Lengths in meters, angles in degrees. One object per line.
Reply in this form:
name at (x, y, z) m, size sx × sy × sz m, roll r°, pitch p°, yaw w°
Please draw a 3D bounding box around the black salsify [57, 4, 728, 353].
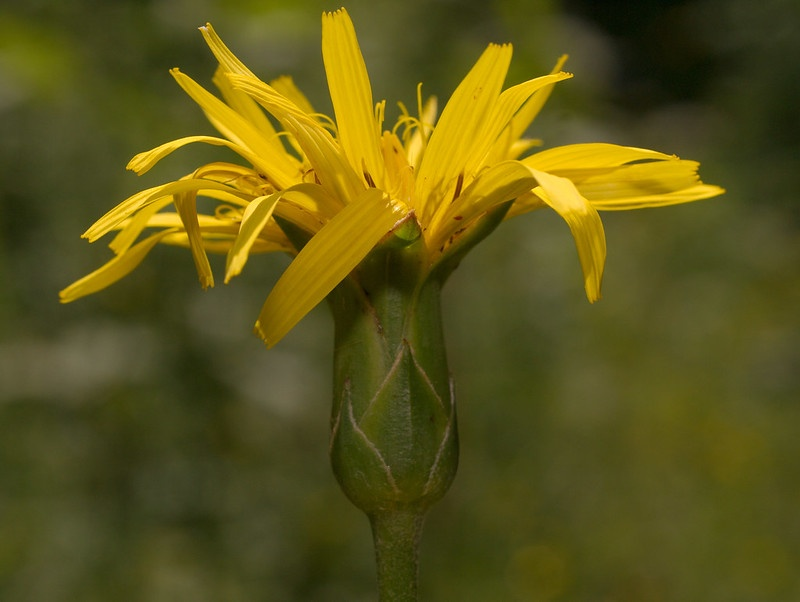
black salsify at (-0.071, -0.121, 1.008) m, size 0.624 × 0.252 × 0.707 m, roll 4°, pitch 11°, yaw 2°
